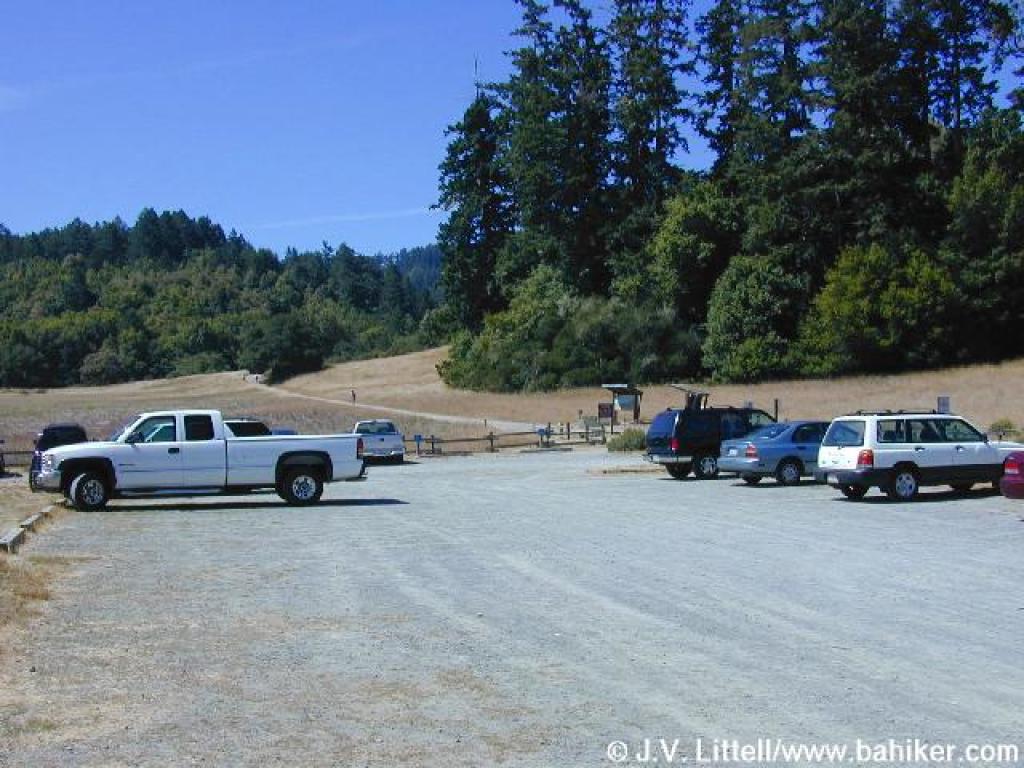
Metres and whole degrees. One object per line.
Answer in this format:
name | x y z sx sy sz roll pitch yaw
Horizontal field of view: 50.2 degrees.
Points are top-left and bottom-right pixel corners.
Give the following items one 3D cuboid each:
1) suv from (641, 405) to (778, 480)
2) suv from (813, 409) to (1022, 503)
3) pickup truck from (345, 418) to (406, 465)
suv | 5.660 1.532 30.521 3.341 1.612 1.755 -6 4 -21
suv | 8.548 1.569 23.486 3.623 1.705 0.916 -3 0 -5
pickup truck | -4.958 2.391 41.901 1.435 1.618 3.197 -1 5 -9
